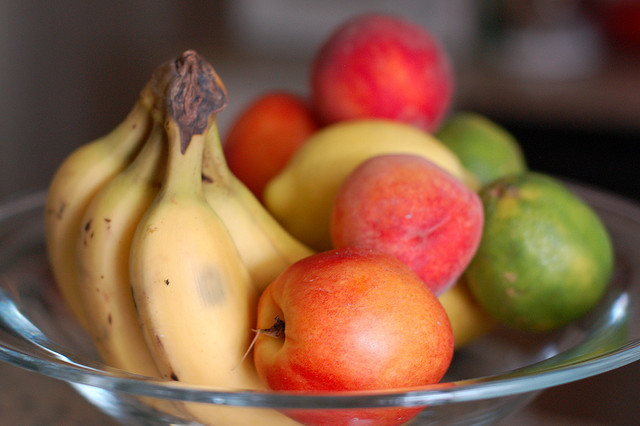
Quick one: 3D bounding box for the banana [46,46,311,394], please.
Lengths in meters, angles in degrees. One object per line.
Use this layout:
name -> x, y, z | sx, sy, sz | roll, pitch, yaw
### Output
banana -> -0.142, 0.003, 0.658 | 0.227, 0.197, 0.325 | -6, 62, -34

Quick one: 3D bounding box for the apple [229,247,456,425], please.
apple -> 0.023, 0.100, 0.527 | 0.171, 0.154, 0.156 | 0, 57, 4

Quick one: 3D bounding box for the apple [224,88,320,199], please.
apple -> -0.069, -0.076, 0.760 | 0.087, 0.096, 0.116 | 8, 77, 5

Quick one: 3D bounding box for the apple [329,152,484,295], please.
apple -> 0.065, -0.028, 0.662 | 0.145, 0.093, 0.145 | 26, 38, 30

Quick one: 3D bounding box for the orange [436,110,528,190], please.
orange -> 0.179, -0.071, 0.744 | 0.076, 0.059, 0.102 | -42, 80, -6

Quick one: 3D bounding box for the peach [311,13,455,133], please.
peach -> 0.070, -0.149, 0.793 | 0.138, 0.160, 0.140 | -40, 78, 26

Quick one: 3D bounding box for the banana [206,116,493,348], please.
banana -> 0.038, 0.042, 0.645 | 0.182, 0.134, 0.308 | 3, 99, 28
